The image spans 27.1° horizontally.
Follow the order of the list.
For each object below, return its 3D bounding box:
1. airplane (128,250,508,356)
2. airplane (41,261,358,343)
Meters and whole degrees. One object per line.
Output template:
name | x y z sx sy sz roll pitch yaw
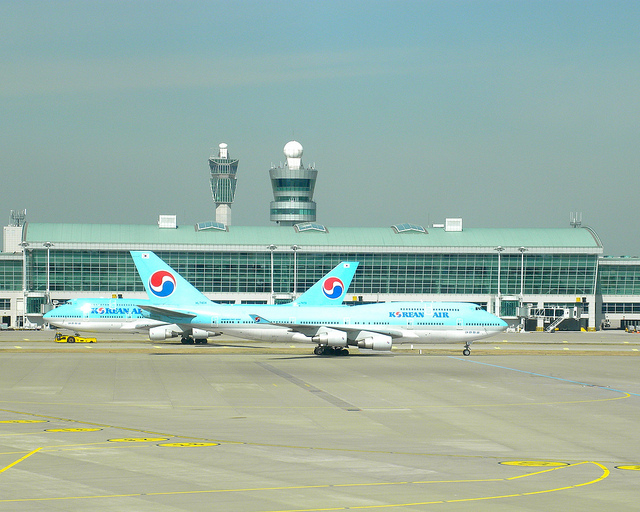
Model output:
airplane | -0.661 4.535 120.960 32.241 8.965 11.206 0 -2 8
airplane | -13.884 5.741 131.678 18.723 3.829 13.613 2 0 5
